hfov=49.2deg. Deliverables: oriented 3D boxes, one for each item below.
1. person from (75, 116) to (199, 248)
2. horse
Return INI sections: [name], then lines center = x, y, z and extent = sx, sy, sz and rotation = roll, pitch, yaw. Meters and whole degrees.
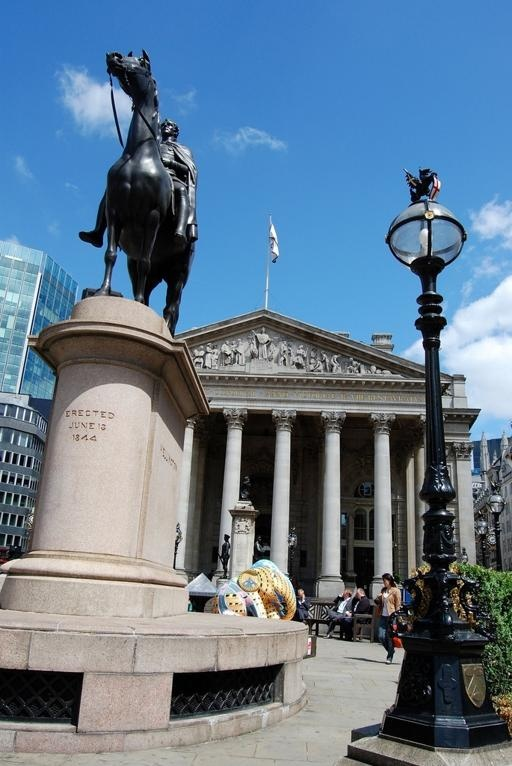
[person]
center = -1.402, -2.707, 7.203
extent = 1.327, 2.087, 0.970
rotation = 3, -12, 3
[horse]
center = -1.295, -2.239, 6.670
extent = 0.862, 2.688, 2.687
rotation = 8, 3, 4
